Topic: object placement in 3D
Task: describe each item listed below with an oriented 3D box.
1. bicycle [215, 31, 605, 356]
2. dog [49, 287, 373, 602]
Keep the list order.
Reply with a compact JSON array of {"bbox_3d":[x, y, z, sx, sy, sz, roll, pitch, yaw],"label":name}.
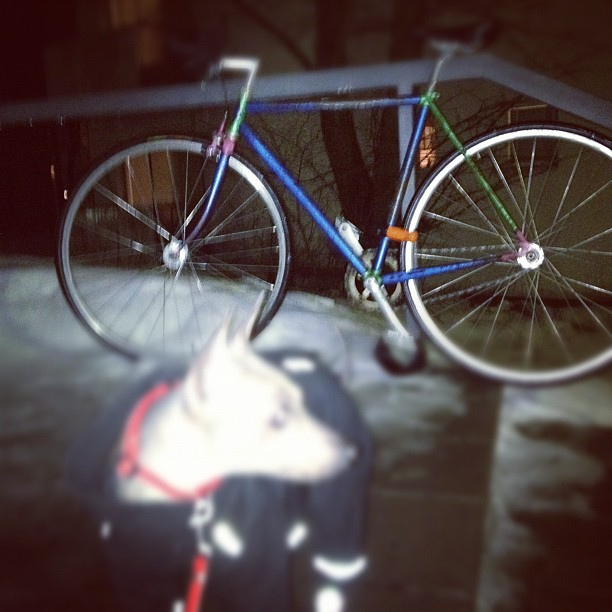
[{"bbox_3d":[0.326,-0.566,2.827,1.876,1.219,0.903,8,11,17],"label":"bicycle"},{"bbox_3d":[-0.309,0.566,2.201,1.058,0.578,0.580,2,14,6],"label":"dog"}]
